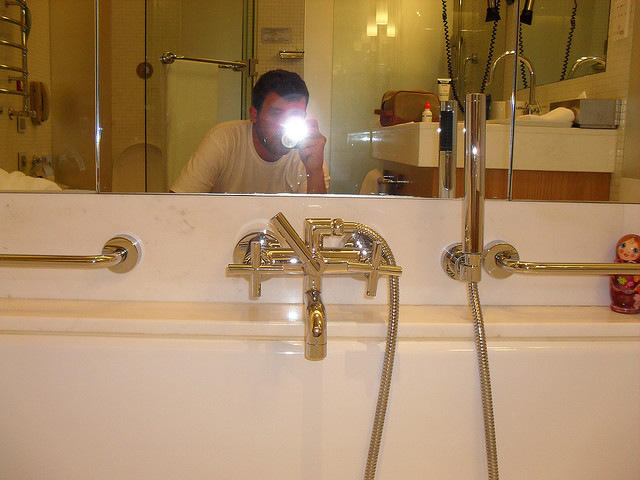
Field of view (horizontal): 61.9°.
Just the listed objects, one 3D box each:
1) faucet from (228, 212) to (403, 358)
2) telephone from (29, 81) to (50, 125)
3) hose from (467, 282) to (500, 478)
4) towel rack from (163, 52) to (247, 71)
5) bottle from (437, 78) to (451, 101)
[{"bbox_3d":[-0.009,0.118,1.299,0.416,0.230,0.344,-1,-75,-8],"label":"faucet"},{"bbox_3d":[-0.792,-0.387,1.517,0.051,0.022,0.121,-2,-84,6],"label":"telephone"},{"bbox_3d":[0.395,0.343,1.351,0.050,0.069,0.479,-2,-99,3],"label":"hose"},{"bbox_3d":[-0.329,-0.503,1.504,0.213,0.040,0.055,3,-93,-6],"label":"towel rack"},{"bbox_3d":[0.354,-0.430,1.528,0.038,0.035,0.054,2,-60,1],"label":"bottle"}]
